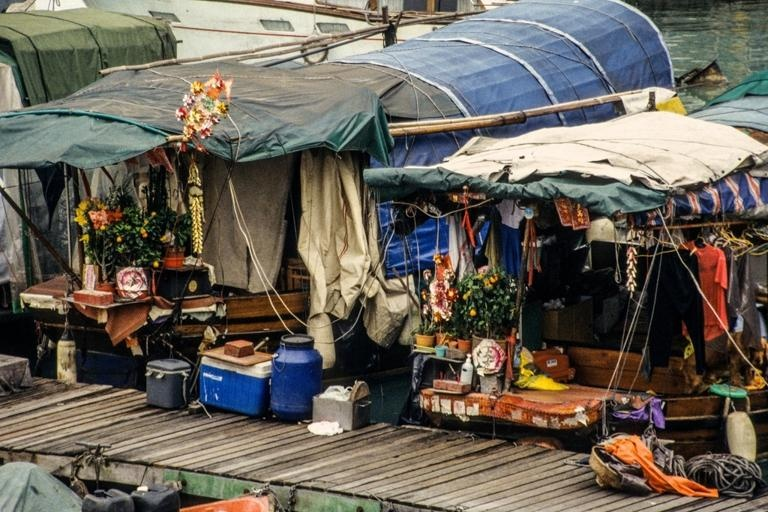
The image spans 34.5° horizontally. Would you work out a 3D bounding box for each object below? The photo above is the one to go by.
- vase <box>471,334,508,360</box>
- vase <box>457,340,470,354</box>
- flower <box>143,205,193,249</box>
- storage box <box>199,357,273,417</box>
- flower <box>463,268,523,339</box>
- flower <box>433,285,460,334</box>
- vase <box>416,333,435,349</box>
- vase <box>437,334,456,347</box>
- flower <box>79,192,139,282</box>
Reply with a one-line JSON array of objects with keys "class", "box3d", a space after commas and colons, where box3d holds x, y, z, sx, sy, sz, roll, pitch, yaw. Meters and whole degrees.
[{"class": "vase", "box3d": [1.463, 1.304, 17.696, 0.679, 0.263, 0.259, 3, 9, 40]}, {"class": "vase", "box3d": [1.173, 1.335, 18.020, 0.177, 0.140, 0.184, 2, 6, -5]}, {"class": "flower", "box3d": [-3.283, -0.446, 18.965, 0.606, 0.437, 0.557, -1, -1, -41]}, {"class": "storage box", "box3d": [-2.152, 1.889, 18.322, 1.110, 0.809, 0.749, 10, 6, 18]}, {"class": "flower", "box3d": [1.608, 0.630, 17.954, 1.001, 1.151, 0.834, 2, 6, 41]}, {"class": "flower", "box3d": [0.923, 0.776, 18.145, 0.376, 0.631, 0.144, 6, 6, 34]}, {"class": "vase", "box3d": [0.615, 1.281, 18.379, 0.223, 0.142, 0.222, 8, -8, -38]}, {"class": "vase", "box3d": [0.924, 1.246, 18.181, 0.191, 0.152, 0.201, 3, -8, 4]}, {"class": "flower", "box3d": [-4.229, -0.291, 18.957, 0.982, 1.358, 0.565, -2, 7, 1]}]
